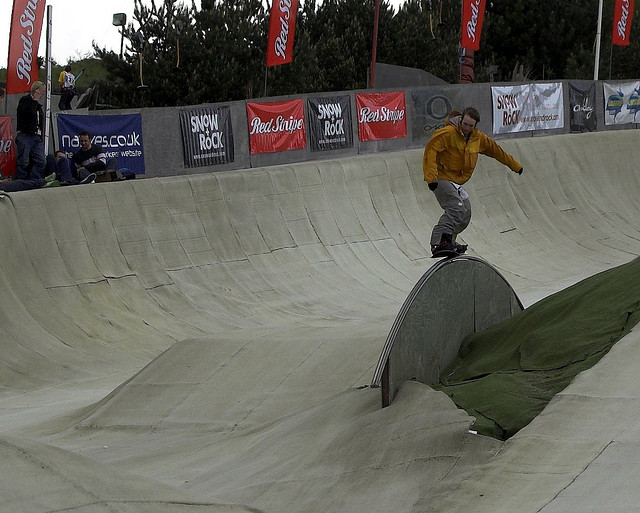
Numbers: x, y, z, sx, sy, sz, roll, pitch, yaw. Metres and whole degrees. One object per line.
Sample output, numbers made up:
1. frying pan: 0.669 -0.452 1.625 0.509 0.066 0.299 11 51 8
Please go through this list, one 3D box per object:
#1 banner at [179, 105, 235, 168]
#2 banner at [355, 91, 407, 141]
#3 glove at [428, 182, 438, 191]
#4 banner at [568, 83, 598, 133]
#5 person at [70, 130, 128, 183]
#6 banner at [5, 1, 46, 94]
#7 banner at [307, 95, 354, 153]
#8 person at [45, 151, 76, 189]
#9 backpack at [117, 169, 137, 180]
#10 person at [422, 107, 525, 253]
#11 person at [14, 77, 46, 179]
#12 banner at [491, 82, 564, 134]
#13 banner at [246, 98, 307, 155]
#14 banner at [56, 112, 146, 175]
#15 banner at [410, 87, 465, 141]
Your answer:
1. banner: -2.091 -2.206 13.850 1.183 1.061 0.070 -14 18 -40
2. banner: 1.256 -2.928 15.668 0.089 0.977 1.382 -14 15 -41
3. glove: 1.314 -0.818 8.840 0.103 0.071 0.101 0 -3 9
4. banner: 6.356 -3.612 18.289 0.968 1.195 0.250 -8 10 -39
5. person: -3.731 -1.673 12.537 0.645 0.843 0.952 -7 10 -38
6. banner: -4.914 -3.500 12.507 0.733 1.558 0.503 -5 9 -24
7. banner: 0.137 -2.682 15.046 1.260 1.172 0.095 -3 1 -33
8. person: -4.247 -1.438 12.320 0.408 0.551 0.712 -2 8 -5
9. backpack: -3.344 -1.404 12.913 0.332 0.128 0.158 -2 15 -26
10. person: 1.702 -0.903 9.089 0.695 1.719 0.917 3 9 26
11. person: -4.578 -1.969 11.819 0.489 1.490 0.684 -4 9 -21
12. banner: 4.793 -3.413 17.459 2.784 1.201 0.023 -12 16 -37
13. banner: -0.909 -2.521 14.494 1.183 0.885 0.051 -6 4 -34
14. banner: -3.804 -1.933 12.812 1.262 0.810 0.020 -2 4 -28
15. banner: 2.444 -3.027 16.342 1.617 1.284 0.156 -12 20 -39
